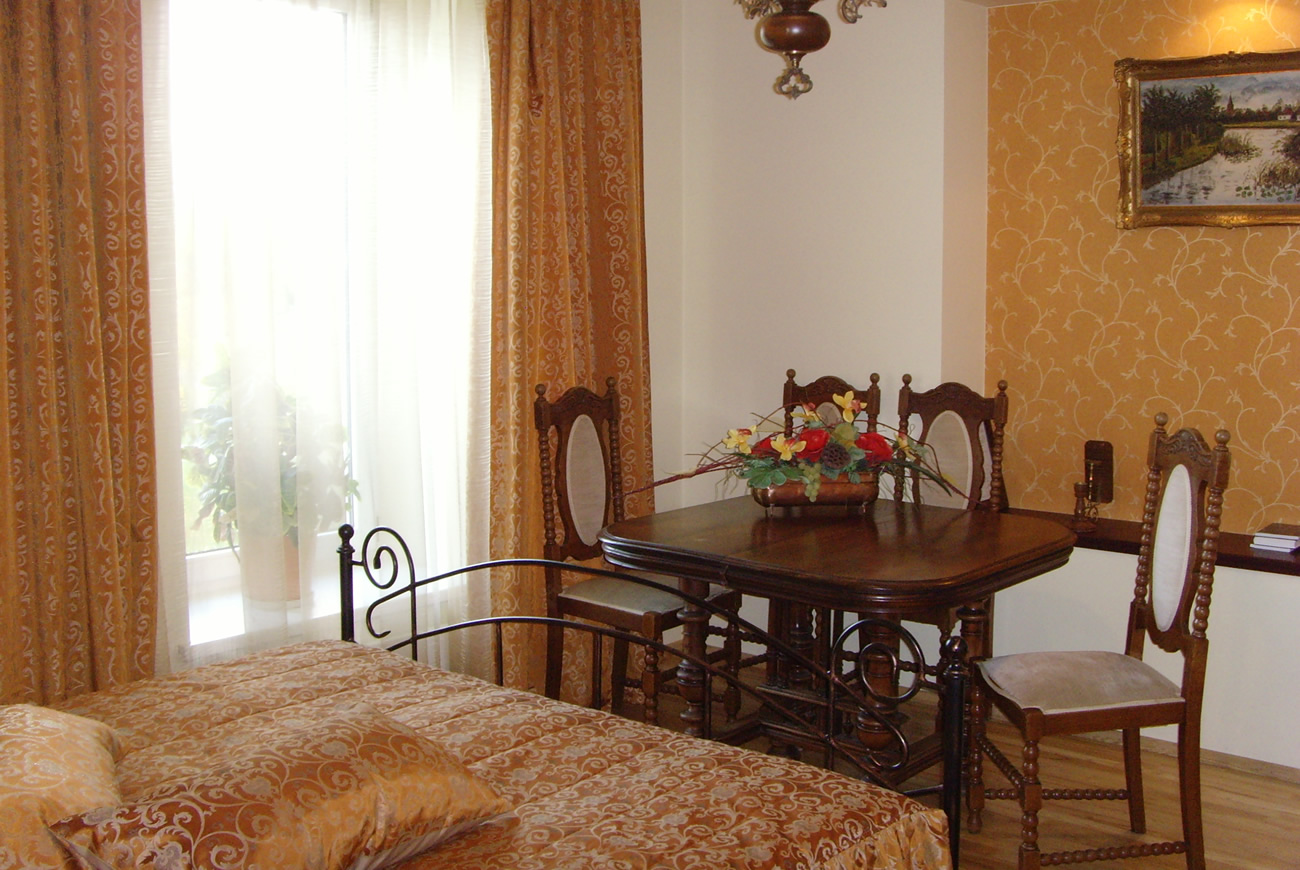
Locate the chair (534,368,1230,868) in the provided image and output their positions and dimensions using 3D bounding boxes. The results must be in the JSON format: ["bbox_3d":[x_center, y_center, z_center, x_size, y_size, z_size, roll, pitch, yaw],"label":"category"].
[{"bbox_3d":[0.886,0.659,3.905,1.534,0.993,0.872,3,6,44],"label":"chair"}]
